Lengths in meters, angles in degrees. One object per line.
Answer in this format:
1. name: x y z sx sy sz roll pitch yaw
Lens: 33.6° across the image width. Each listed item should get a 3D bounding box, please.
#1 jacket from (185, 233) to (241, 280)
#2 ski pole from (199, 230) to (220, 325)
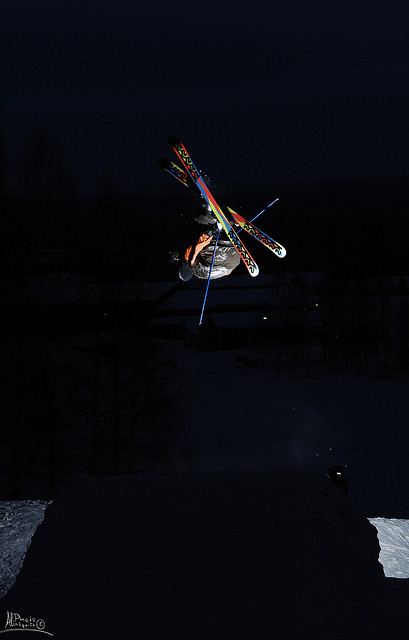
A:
1. jacket: 0.050 -0.420 4.489 0.441 0.183 0.315 8 -13 -29
2. ski pole: 0.026 -0.306 4.397 0.094 0.574 0.022 -1 17 -44
